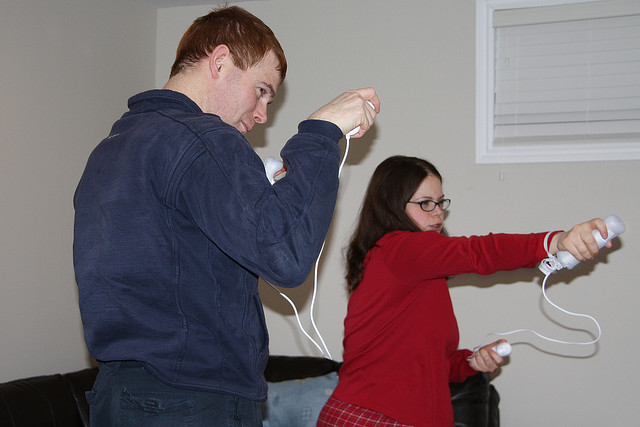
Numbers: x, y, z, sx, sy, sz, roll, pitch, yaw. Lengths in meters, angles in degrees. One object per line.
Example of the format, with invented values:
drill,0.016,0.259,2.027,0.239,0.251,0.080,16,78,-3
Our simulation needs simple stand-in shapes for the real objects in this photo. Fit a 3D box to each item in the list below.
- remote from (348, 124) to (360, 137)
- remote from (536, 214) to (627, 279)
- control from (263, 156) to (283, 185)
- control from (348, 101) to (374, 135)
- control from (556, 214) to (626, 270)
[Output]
remote,0.119,-0.283,2.037,0.016,0.055,0.011,31,38,-15
remote,1.252,0.170,2.758,0.113,0.365,0.120,43,14,-24
control,-0.184,-0.166,2.239,0.097,0.107,0.038,5,7,-19
control,0.149,-0.338,2.081,0.060,0.121,0.156,3,6,19
control,1.258,0.145,2.684,0.096,0.302,0.106,40,13,-33
